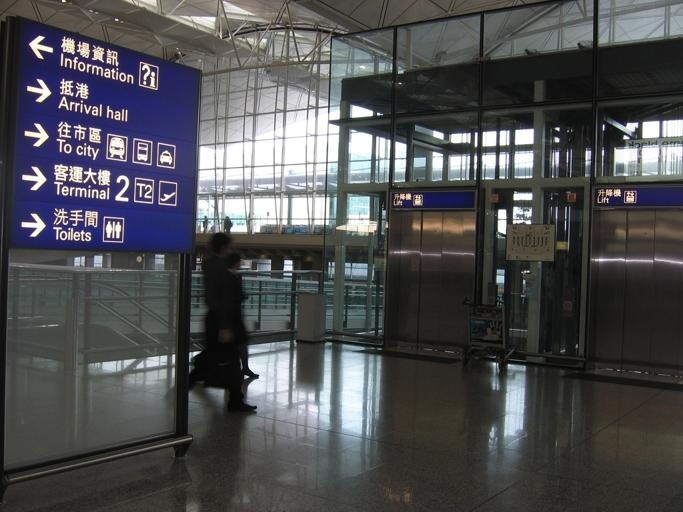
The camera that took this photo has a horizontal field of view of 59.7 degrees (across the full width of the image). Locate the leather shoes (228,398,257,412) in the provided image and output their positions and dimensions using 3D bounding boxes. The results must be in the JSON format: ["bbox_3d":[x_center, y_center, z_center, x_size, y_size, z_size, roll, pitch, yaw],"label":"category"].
[{"bbox_3d":[-1.191,1.764,7.114,0.351,0.126,0.299,2,2,-10],"label":"leather shoes"}]

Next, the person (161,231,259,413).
[{"bbox_3d":[-1.369,0.776,7.181,0.443,2.074,0.773,2,2,-35],"label":"person"}]

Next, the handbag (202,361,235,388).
[{"bbox_3d":[-1.462,1.461,7.104,0.417,0.368,0.097,6,13,32],"label":"handbag"}]

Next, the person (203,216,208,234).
[{"bbox_3d":[-8.360,-1.865,36.401,0.261,0.935,1.718,2,2,-13],"label":"person"}]

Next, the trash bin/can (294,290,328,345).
[{"bbox_3d":[-0.622,1.258,12.120,0.577,0.979,0.392,2,2,-2],"label":"trash bin/can"}]
